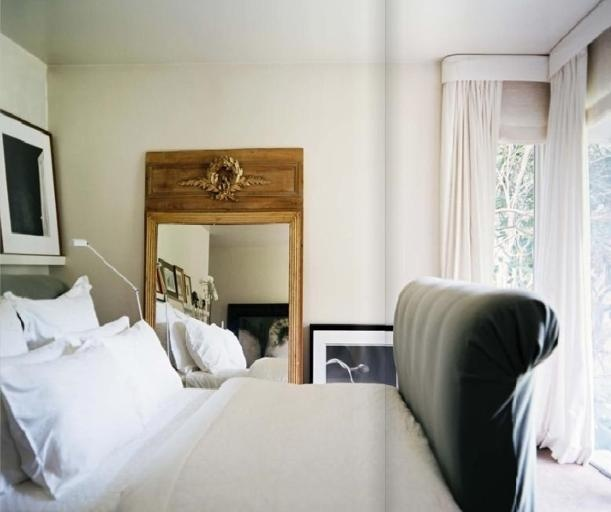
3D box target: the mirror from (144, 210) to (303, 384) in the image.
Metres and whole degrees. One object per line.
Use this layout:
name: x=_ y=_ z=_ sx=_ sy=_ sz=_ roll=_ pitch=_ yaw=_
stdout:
mirror: x=-0.140 y=0.059 z=0.831 sx=0.218 sy=0.328 sz=0.015 roll=0 pitch=-3 yaw=3
